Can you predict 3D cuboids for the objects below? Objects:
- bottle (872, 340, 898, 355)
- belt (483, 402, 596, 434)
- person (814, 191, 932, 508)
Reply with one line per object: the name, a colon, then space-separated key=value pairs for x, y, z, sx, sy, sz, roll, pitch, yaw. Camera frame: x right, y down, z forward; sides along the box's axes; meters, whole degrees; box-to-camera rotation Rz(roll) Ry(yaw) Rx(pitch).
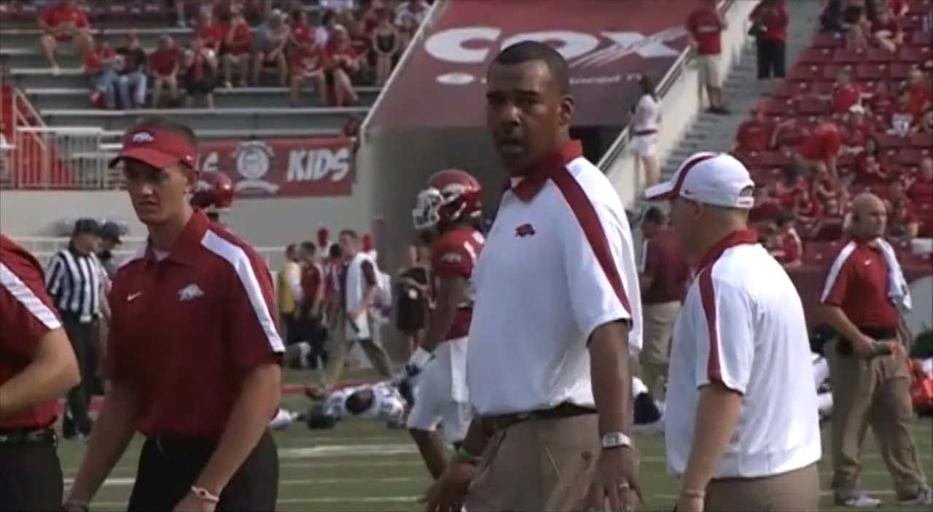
bottle: x=4.588 y=1.037 z=19.892 sx=0.298 sy=0.173 sz=0.186 roll=-5 pitch=-3 yaw=17
belt: x=0.647 y=1.524 z=16.966 sx=1.128 sy=0.108 sz=0.354 roll=-5 pitch=2 yaw=3
person: x=4.488 y=1.081 z=20.088 sx=1.162 sy=3.436 sz=0.521 roll=3 pitch=5 yaw=10
